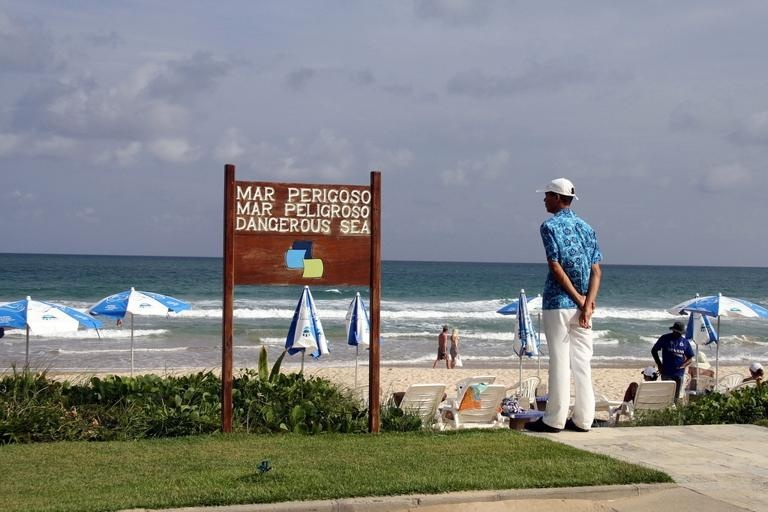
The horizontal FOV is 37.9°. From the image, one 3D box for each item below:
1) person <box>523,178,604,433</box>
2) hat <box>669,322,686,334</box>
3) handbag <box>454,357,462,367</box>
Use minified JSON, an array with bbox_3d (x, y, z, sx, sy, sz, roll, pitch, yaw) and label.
[{"bbox_3d":[2.866,0.790,17.583,1.018,3.817,0.652,-1,0,0],"label":"person"},{"bbox_3d":[6.076,1.473,23.034,0.431,0.182,0.409,2,5,-45],"label":"hat"},{"bbox_3d":[2.446,3.512,37.167,0.245,0.380,0.385,1,-8,0],"label":"handbag"}]
